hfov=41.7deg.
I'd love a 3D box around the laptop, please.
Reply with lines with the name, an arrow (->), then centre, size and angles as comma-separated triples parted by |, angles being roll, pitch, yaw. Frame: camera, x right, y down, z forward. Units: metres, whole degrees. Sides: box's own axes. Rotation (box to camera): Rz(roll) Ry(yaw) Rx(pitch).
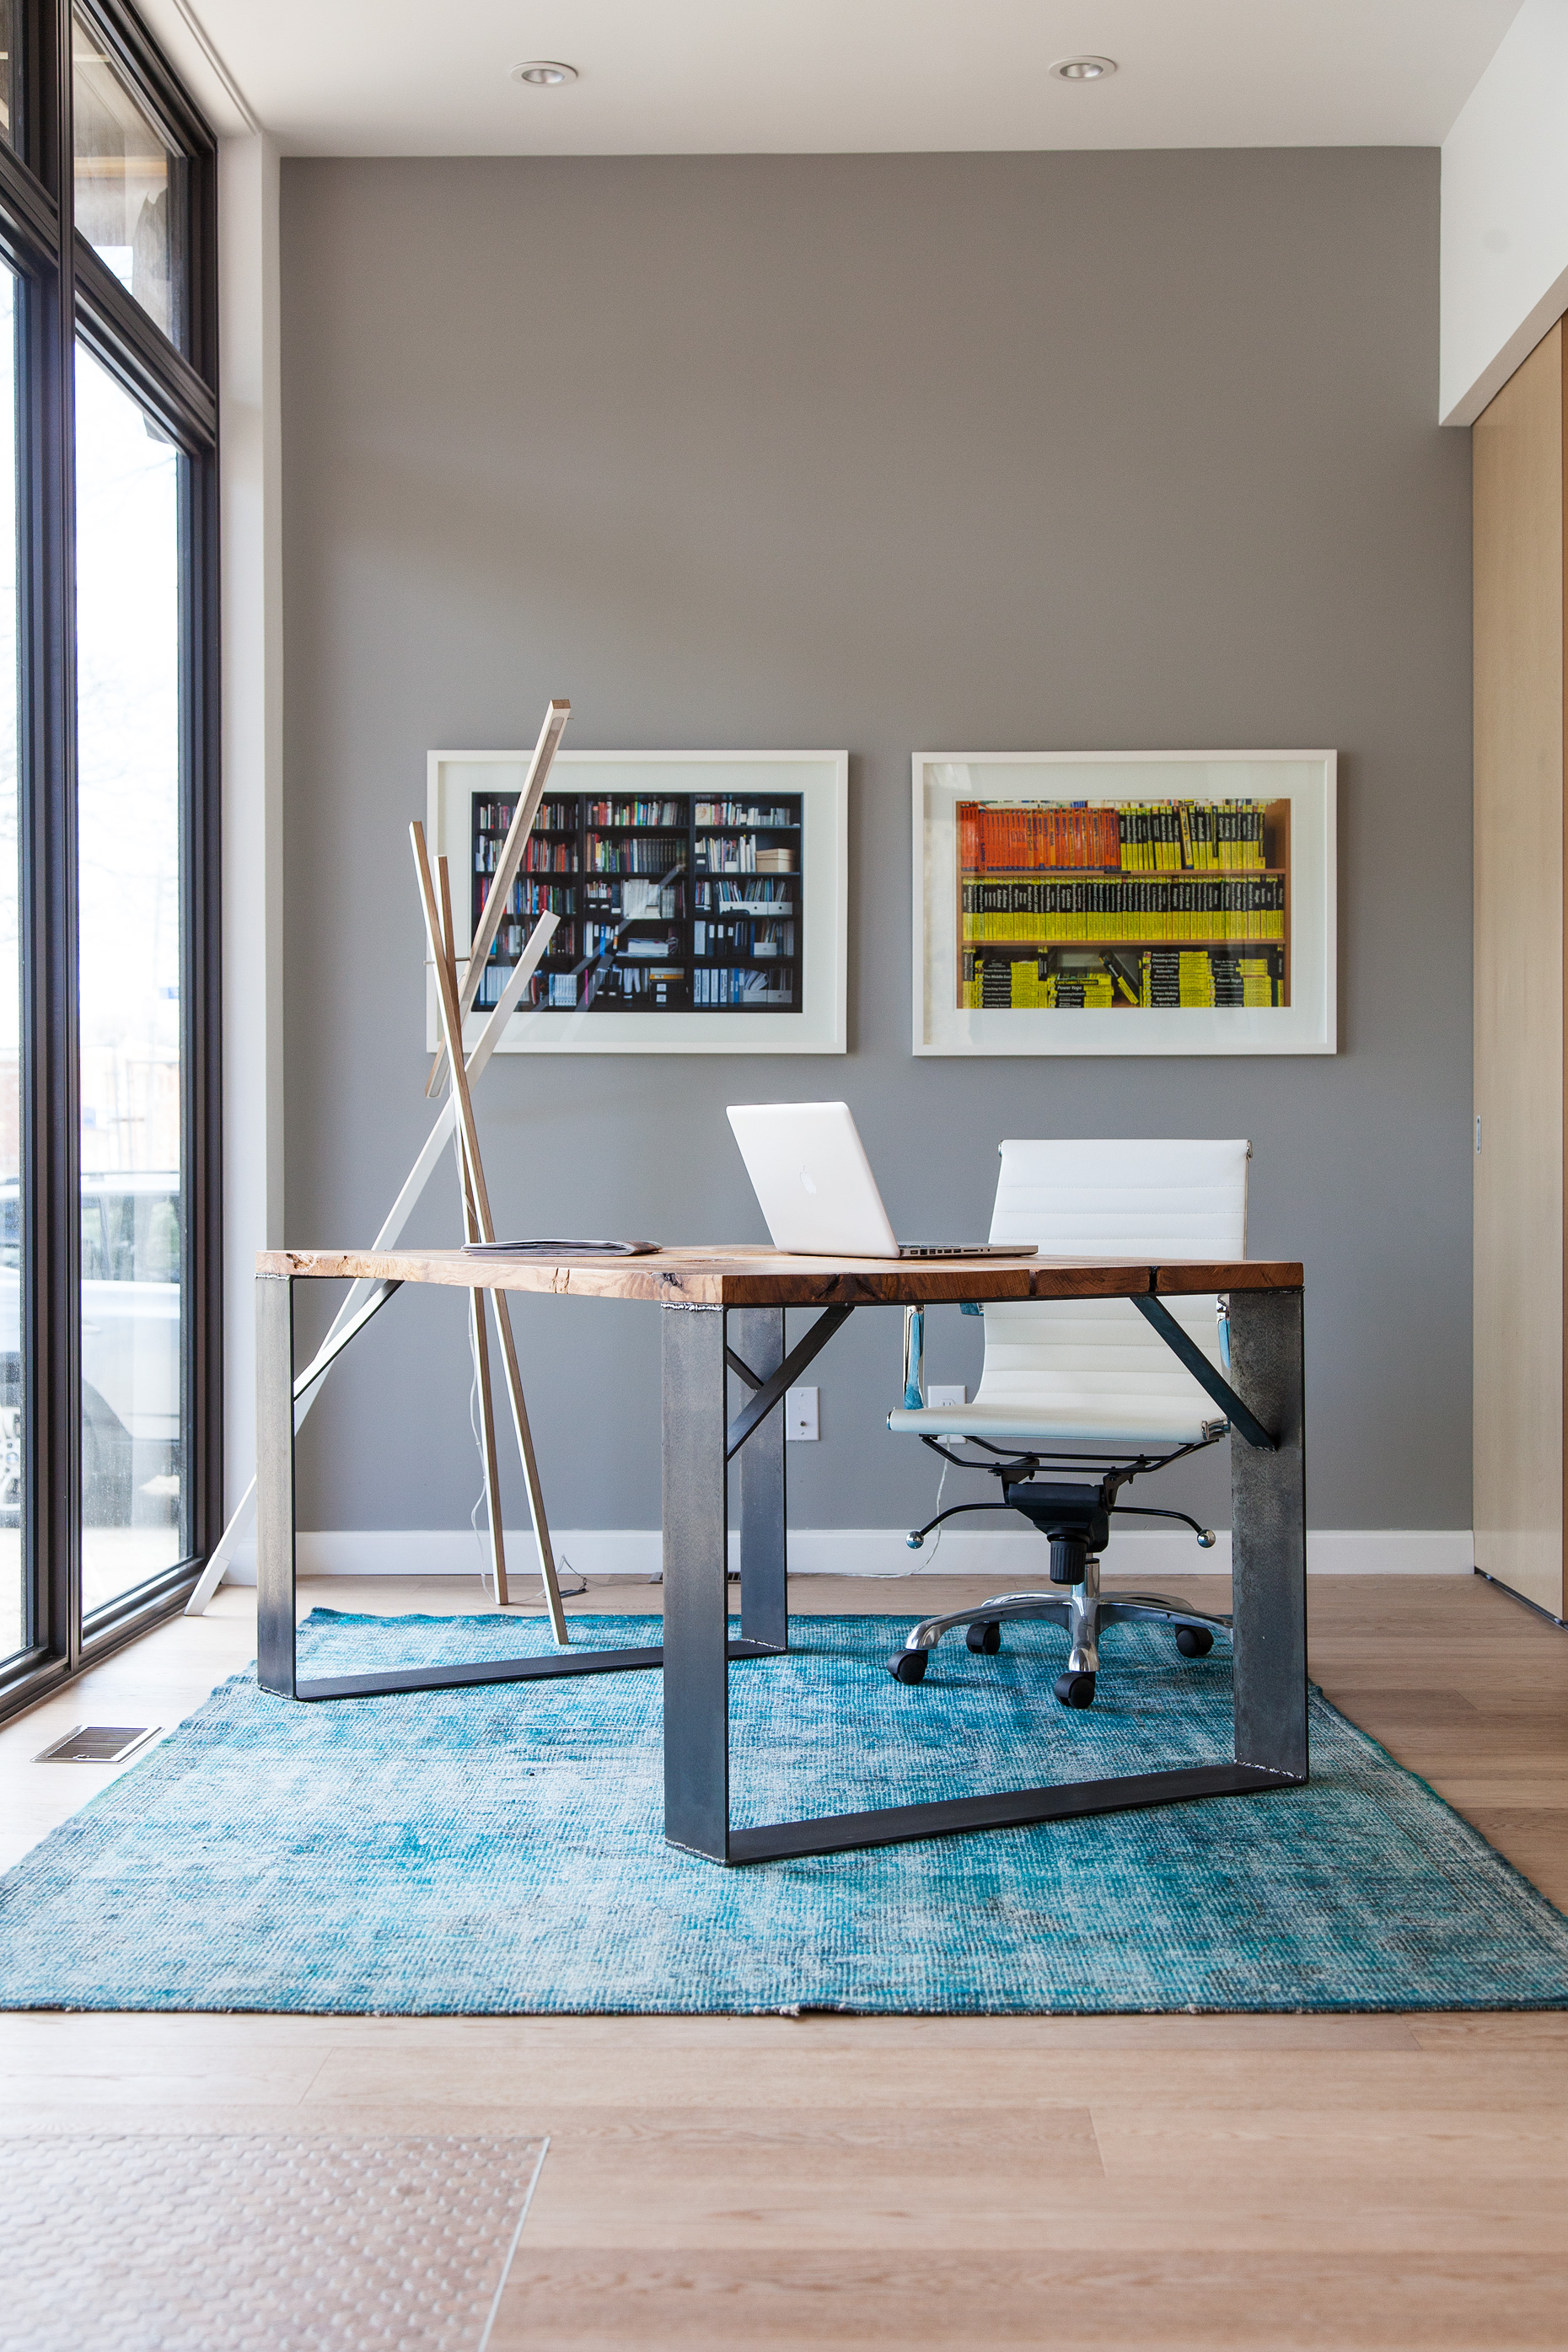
laptop -> 0.067, 0.014, 2.581 | 0.242, 0.172, 0.271 | 0, 1, -28
